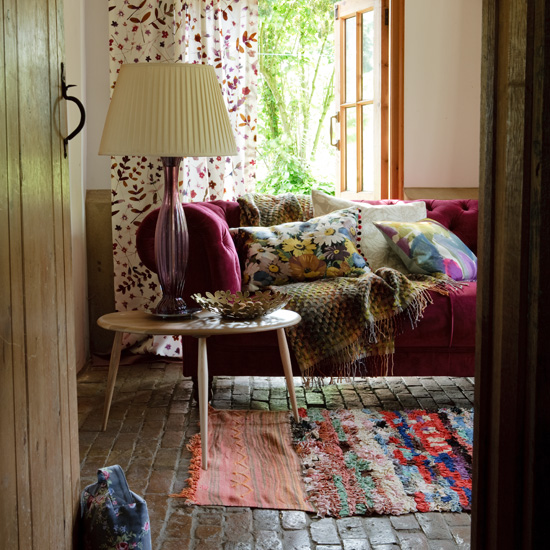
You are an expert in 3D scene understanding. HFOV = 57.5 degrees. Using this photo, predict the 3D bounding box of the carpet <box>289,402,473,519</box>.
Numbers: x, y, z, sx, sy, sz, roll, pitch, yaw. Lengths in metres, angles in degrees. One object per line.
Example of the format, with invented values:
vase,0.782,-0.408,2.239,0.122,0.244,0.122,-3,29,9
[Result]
carpet,0.482,0.709,1.958,0.794,0.033,0.770,-1,5,-5

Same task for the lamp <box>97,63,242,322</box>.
lamp,-0.403,-0.338,1.989,0.390,1.029,0.419,3,7,34
